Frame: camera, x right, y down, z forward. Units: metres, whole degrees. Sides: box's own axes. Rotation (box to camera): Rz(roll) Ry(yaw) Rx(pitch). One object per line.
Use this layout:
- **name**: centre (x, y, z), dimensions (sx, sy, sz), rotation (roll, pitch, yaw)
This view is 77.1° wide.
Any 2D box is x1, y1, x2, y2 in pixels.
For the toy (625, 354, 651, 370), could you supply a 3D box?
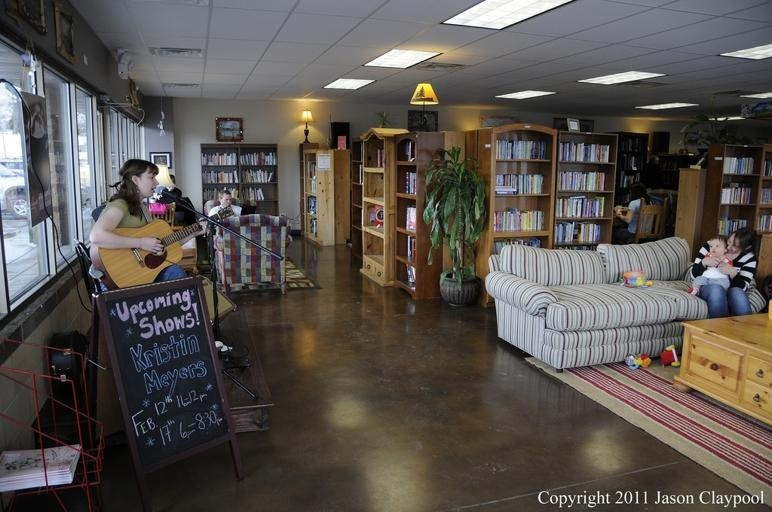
- **toy**: centre (2.538, 1.064, 4.905), dimensions (0.192, 0.138, 0.088), rotation (2, -35, 2)

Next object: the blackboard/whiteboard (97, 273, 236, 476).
- **blackboard/whiteboard**: centre (-1.442, 0.850, 3.270), dimensions (0.718, 1.336, 0.379), rotation (-7, 12, -29)

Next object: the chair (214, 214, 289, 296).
- **chair**: centre (-1.823, -0.005, 7.293), dimensions (1.096, 1.143, 1.070), rotation (-2, -8, 8)

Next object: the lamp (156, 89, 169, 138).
- **lamp**: centre (-5.090, -3.203, 11.034), dimensions (0.180, 0.888, 0.339), rotation (-6, 11, -21)

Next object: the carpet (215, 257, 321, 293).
- **carpet**: centre (-1.953, 0.266, 7.989), dimensions (1.688, 0.039, 1.687), rotation (-3, 18, -25)

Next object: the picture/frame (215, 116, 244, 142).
- **picture/frame**: centre (-3.791, -3.082, 11.682), dimensions (0.727, 0.603, 0.093), rotation (0, 6, -18)

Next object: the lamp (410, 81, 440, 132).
- **lamp**: centre (0.558, -2.275, 7.375), dimensions (0.493, 0.644, 0.470), rotation (9, 14, 36)

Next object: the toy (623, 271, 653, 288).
- **toy**: centre (2.805, 0.263, 5.500), dimensions (0.212, 0.094, 0.271), rotation (-1, 9, -2)
